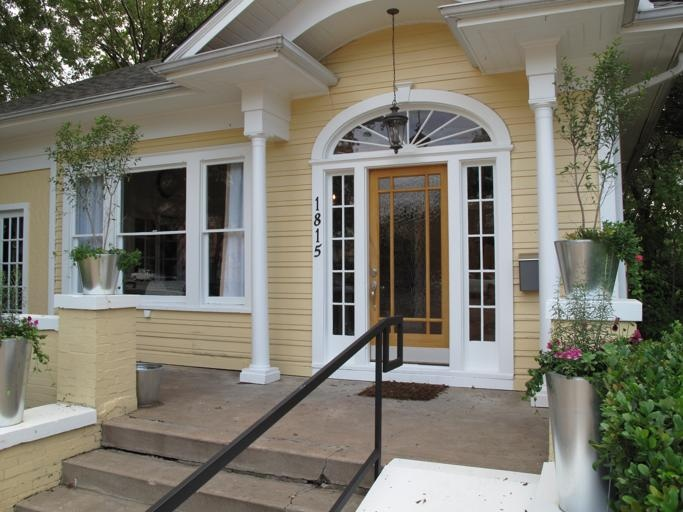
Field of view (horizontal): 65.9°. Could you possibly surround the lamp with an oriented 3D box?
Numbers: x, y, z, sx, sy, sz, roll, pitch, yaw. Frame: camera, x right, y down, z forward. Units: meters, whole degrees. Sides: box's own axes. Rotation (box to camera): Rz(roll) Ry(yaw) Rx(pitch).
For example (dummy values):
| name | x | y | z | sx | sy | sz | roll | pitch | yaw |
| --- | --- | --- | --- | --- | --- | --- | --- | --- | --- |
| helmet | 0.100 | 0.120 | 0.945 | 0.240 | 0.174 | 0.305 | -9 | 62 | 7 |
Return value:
| name | x | y | z | sx | sy | sz | roll | pitch | yaw |
| --- | --- | --- | --- | --- | --- | --- | --- | --- | --- |
| lamp | 0.649 | -2.088 | 6.307 | 0.265 | 1.699 | 0.592 | -1 | 1 | 6 |
